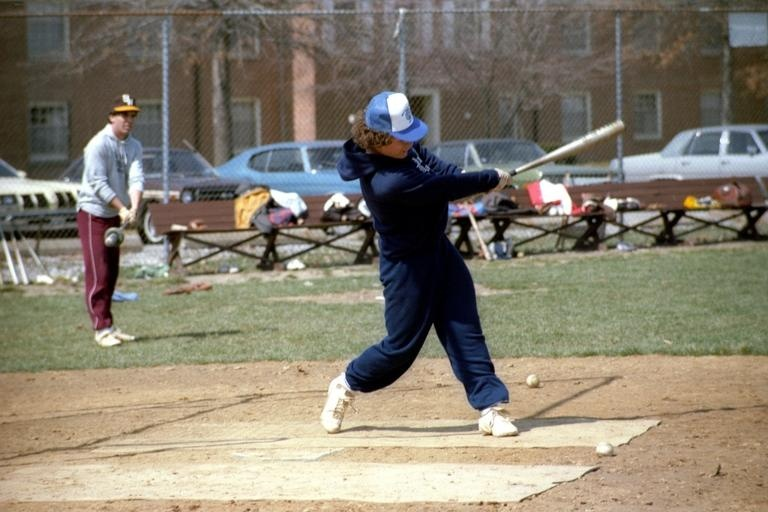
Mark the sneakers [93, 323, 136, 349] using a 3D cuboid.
[{"bbox_3d":[-3.793,1.144,20.629,0.452,0.169,0.297,-4,3,40],"label":"sneakers"}]

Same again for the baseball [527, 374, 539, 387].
[{"bbox_3d":[1.927,1.622,19.157,0.153,0.137,0.154,11,-4,37],"label":"baseball"}]

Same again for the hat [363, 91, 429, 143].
[{"bbox_3d":[0.139,-1.724,17.927,0.801,0.426,0.519,18,36,11],"label":"hat"}]

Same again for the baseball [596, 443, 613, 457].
[{"bbox_3d":[2.637,2.334,17.662,0.167,0.152,0.120,-21,-13,14],"label":"baseball"}]

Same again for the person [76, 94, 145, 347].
[{"bbox_3d":[-3.776,-0.494,20.565,0.914,3.490,0.754,-7,9,-29],"label":"person"}]
